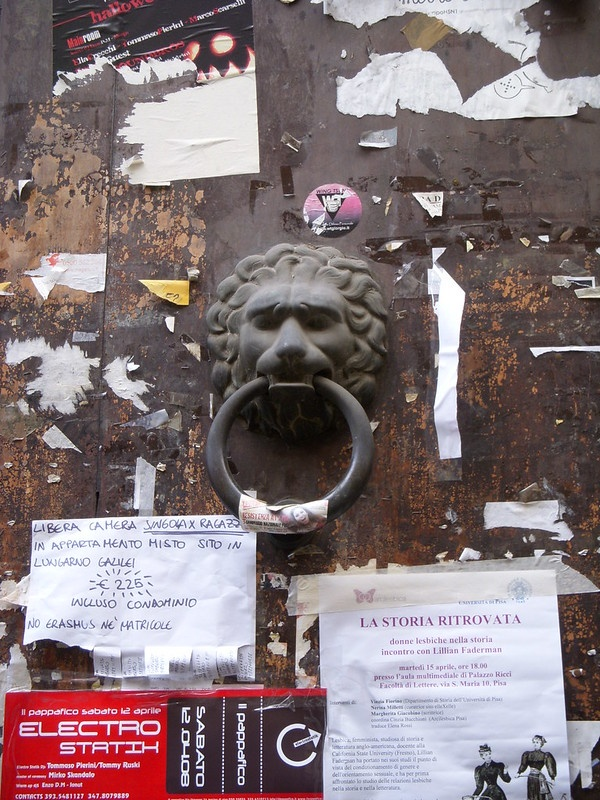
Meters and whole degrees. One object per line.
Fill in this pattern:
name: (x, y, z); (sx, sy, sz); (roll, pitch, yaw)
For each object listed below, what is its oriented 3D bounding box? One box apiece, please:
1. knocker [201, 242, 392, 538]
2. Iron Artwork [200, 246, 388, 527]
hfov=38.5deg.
knocker: (-0.013, -0.034, 1.604); (0.357, 0.265, 0.608); (-2, 63, 5)
Iron Artwork: (0.005, -0.062, 1.585); (0.374, 0.472, 0.488); (-3, 106, -2)
